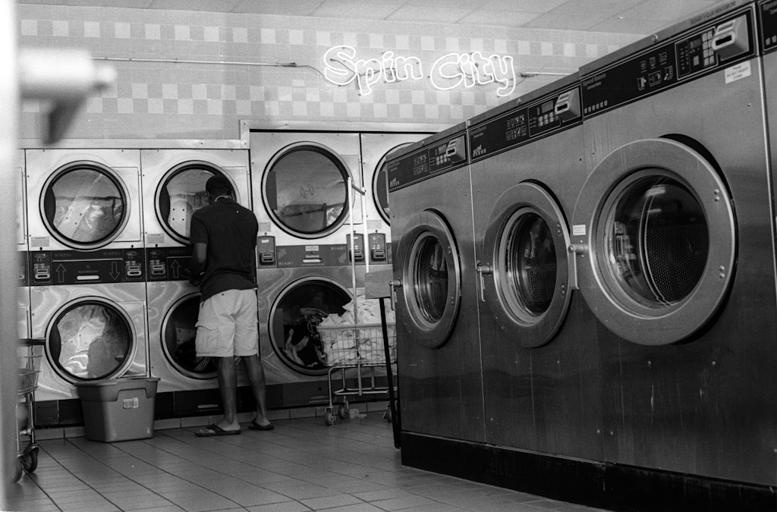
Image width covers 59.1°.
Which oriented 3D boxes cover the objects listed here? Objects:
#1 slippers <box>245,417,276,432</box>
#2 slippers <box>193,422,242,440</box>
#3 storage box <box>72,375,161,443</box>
[{"bbox_3d":[-1.041,1.370,5.559,0.229,0.105,0.087,-6,-10,30],"label":"slippers"},{"bbox_3d":[-1.350,1.367,5.386,0.302,0.094,0.131,5,-12,-13],"label":"slippers"},{"bbox_3d":[-2.144,1.254,5.469,0.577,0.459,0.467,3,-16,-45],"label":"storage box"}]
